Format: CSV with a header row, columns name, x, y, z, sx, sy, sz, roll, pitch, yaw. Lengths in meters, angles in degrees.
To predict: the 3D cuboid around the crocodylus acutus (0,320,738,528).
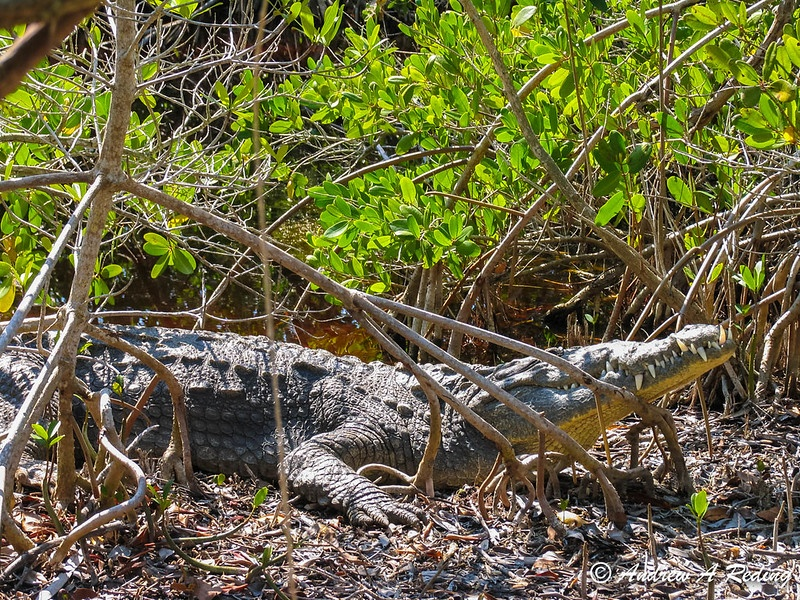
name,x,y,z,sx,sy,sz,roll,pitch,yaw
crocodylus acutus,-0.221,0.504,4.681,2.211,0.628,1.432,1,0,15
